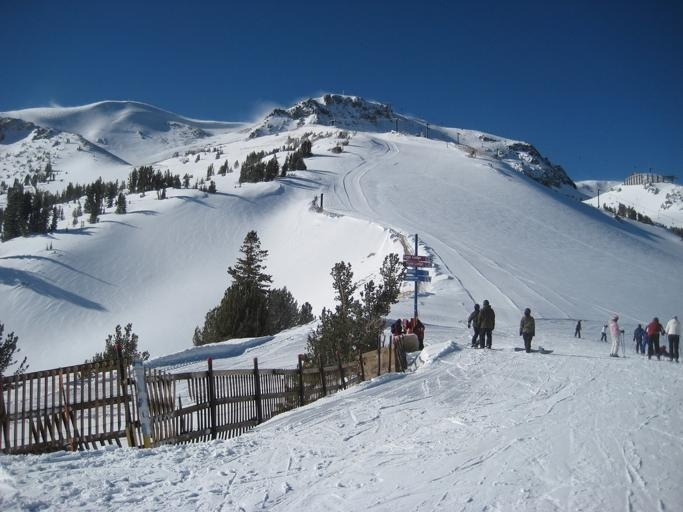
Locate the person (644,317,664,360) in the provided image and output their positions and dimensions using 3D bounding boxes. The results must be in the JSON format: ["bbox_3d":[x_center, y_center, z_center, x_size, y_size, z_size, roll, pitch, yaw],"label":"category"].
[{"bbox_3d":[12.464,3.247,29.629,0.661,1.639,1.950,-4,-7,22],"label":"person"}]

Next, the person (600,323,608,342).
[{"bbox_3d":[13.400,3.931,38.071,0.312,0.874,0.511,2,-10,13],"label":"person"}]
